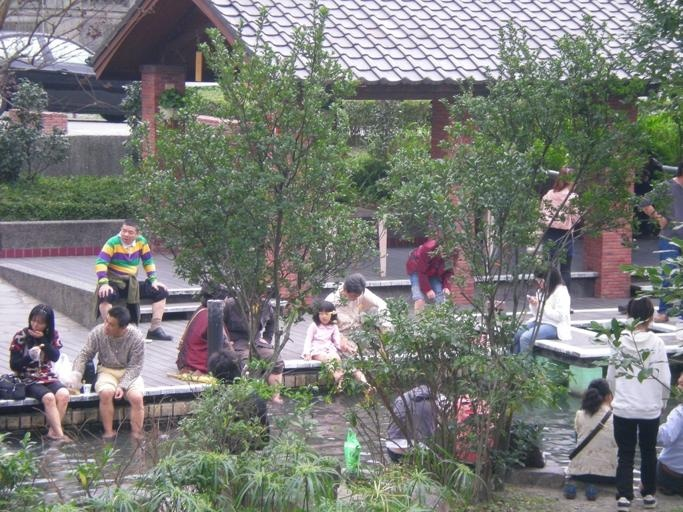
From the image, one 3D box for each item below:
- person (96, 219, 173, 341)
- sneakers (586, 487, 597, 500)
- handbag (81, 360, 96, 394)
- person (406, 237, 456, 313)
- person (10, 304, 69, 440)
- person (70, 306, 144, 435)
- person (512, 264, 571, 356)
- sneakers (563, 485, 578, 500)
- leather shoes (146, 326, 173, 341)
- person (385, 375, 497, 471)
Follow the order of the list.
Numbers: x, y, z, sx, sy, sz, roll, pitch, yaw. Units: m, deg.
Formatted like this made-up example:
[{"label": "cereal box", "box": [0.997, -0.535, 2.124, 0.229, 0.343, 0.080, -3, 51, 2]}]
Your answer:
[{"label": "person", "box": [-3.267, 0.370, 20.047, 1.035, 1.929, 1.020, -4, 7, -39]}, {"label": "sneakers", "box": [3.049, 2.887, 15.972, 0.085, 0.059, 0.171, -1, 27, 7]}, {"label": "handbag", "box": [-3.461, 1.661, 17.952, 0.306, 0.239, 0.428, -14, 23, -6]}, {"label": "person", "box": [1.452, 0.303, 21.130, 0.640, 1.132, 1.372, 1, 3, -8]}, {"label": "person", "box": [-3.986, 1.536, 17.418, 0.806, 1.758, 0.461, 1, 3, 1]}, {"label": "person", "box": [-3.102, 1.552, 17.648, 0.928, 1.731, 0.625, 1, 3, -9]}, {"label": "person", "box": [2.980, 0.979, 19.819, 0.898, 1.776, 0.694, 0, 5, -21]}, {"label": "sneakers", "box": [2.781, 2.866, 15.923, 0.095, 0.088, 0.194, 1, -24, 5]}, {"label": "leather shoes", "box": [-2.867, 1.231, 20.767, 0.360, 0.183, 0.203, 2, 2, 6]}, {"label": "person", "box": [1.160, 2.029, 15.773, 1.394, 0.969, 0.725, 2, 3, 22]}]
